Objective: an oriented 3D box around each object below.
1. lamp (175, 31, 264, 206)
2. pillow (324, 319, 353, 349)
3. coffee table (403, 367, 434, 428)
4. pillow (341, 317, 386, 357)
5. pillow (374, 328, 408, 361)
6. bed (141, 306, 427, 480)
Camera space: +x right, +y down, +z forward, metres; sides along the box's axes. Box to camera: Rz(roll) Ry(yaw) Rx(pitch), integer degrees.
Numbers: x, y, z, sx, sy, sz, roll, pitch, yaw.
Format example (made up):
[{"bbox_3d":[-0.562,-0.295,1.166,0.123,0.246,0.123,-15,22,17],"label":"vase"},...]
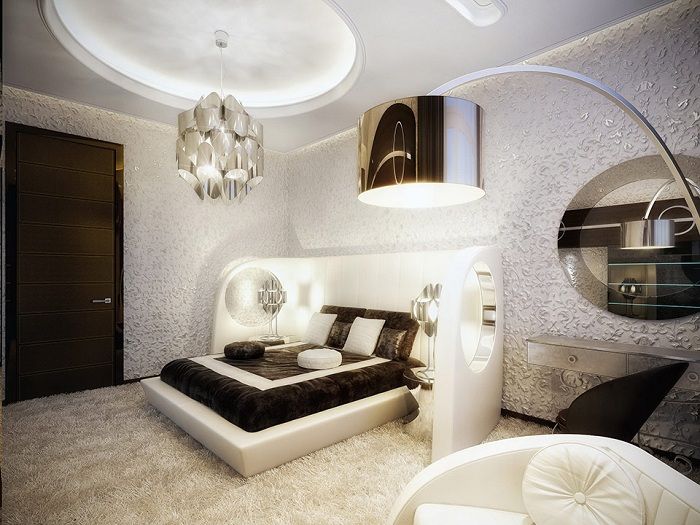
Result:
[{"bbox_3d":[-1.079,-0.984,3.677,0.706,0.885,0.287,-4,13,-17],"label":"lamp"},{"bbox_3d":[-0.136,0.770,4.848,0.263,0.277,0.079,0,-21,47],"label":"pillow"},{"bbox_3d":[0.532,1.152,3.747,0.391,0.472,0.444,0,-1,-1],"label":"coffee table"},{"bbox_3d":[0.146,0.754,4.554,0.117,0.368,0.381,29,-15,-35],"label":"pillow"},{"bbox_3d":[0.399,0.793,4.375,0.275,0.294,0.086,13,-10,43],"label":"pillow"},{"bbox_3d":[-0.403,0.889,3.729,1.361,0.604,1.338,2,-3,-38],"label":"bed"}]
